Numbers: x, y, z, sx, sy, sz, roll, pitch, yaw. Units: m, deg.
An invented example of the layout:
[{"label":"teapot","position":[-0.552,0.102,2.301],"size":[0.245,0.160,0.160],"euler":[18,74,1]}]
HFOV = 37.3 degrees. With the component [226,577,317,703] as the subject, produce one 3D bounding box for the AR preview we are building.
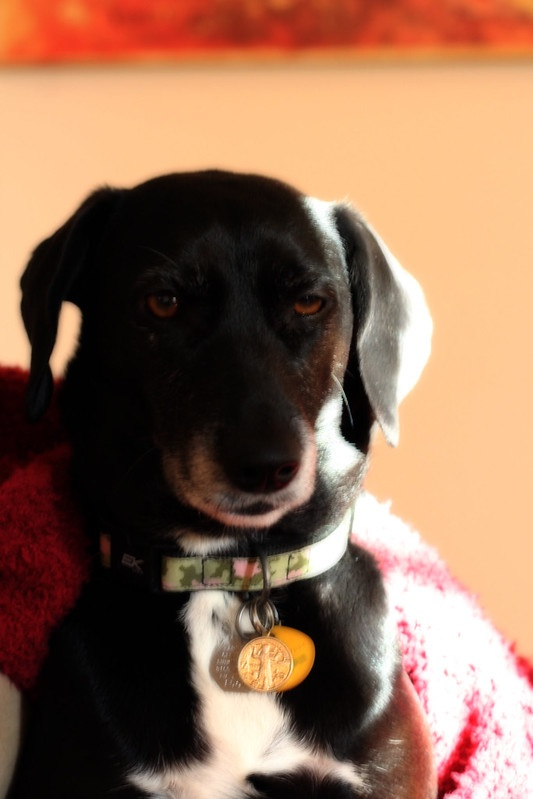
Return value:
[{"label":"component","position":[0.001,0.284,0.940],"size":[0.098,0.119,0.101],"euler":[33,51,30]}]
